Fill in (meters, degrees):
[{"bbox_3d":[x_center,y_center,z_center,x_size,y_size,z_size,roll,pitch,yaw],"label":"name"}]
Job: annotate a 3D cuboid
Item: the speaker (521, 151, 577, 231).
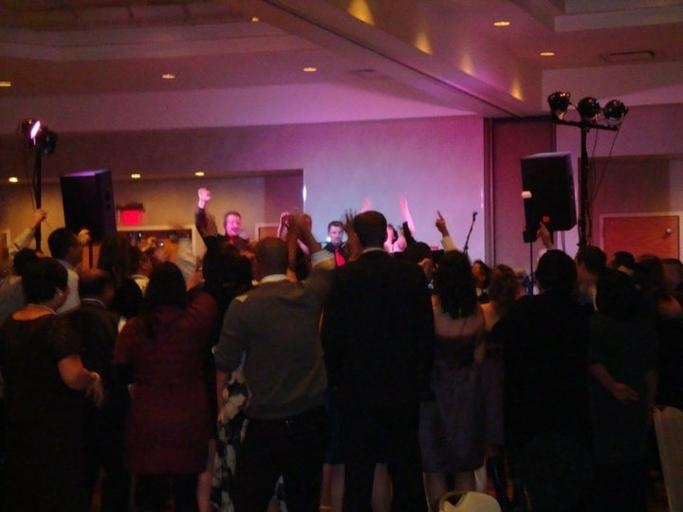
[{"bbox_3d":[1.932,-0.595,5.958,0.421,0.468,0.774,2,-17,24],"label":"speaker"}]
